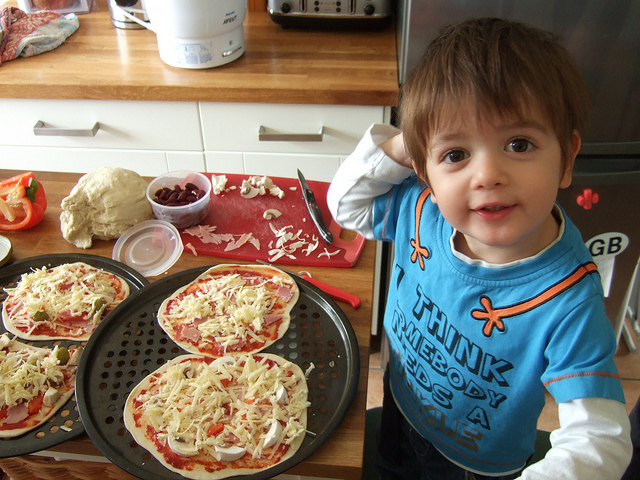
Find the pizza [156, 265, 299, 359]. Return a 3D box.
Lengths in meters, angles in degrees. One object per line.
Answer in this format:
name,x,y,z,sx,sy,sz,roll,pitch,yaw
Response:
pizza,-0.210,0.167,1.214,0.302,0.050,0.334,14,34,12

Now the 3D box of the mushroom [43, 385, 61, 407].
mushroom,-0.558,0.327,1.058,0.026,0.026,0.037,14,29,-8

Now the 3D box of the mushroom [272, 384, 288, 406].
mushroom,-0.081,0.320,1.038,0.014,0.031,0.034,-6,71,-20

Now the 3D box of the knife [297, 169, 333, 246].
knife,-0.011,-0.092,1.433,0.038,0.064,0.255,-12,48,-13

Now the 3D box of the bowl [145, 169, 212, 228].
bowl,-0.409,-0.087,1.485,0.230,0.229,0.096,9,63,-26

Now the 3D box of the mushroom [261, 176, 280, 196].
mushroom,-0.146,-0.160,1.519,0.043,0.020,0.062,-23,92,-26

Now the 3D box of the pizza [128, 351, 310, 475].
pizza,-0.206,0.341,1.030,0.359,0.048,0.286,-8,47,-10

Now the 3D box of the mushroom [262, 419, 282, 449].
mushroom,-0.092,0.381,0.992,0.014,0.038,0.043,32,60,-34

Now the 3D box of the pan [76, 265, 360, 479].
pan,-0.219,0.298,1.085,0.575,0.185,0.625,2,27,2

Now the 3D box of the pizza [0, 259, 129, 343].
pizza,-0.617,0.139,1.230,0.220,0.048,0.205,24,49,24

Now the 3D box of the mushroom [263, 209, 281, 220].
mushroom,-0.137,-0.072,1.445,0.050,0.015,0.029,-2,47,-5
